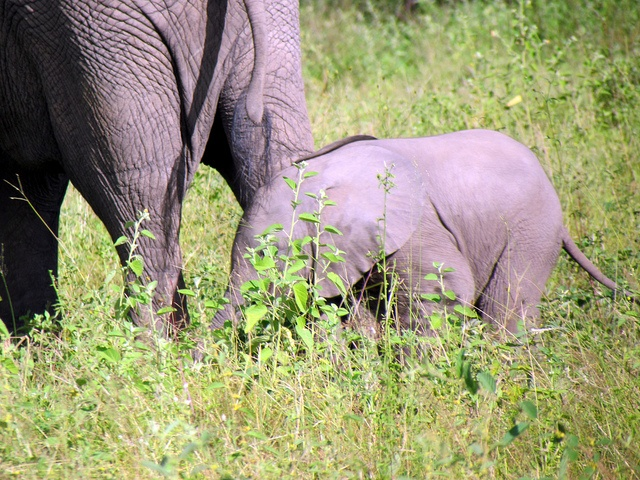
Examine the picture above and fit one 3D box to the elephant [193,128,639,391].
[{"bbox_3d":[0.345,0.100,3.387,1.923,1.264,0.912,-2,12,-7],"label":"elephant"}]
